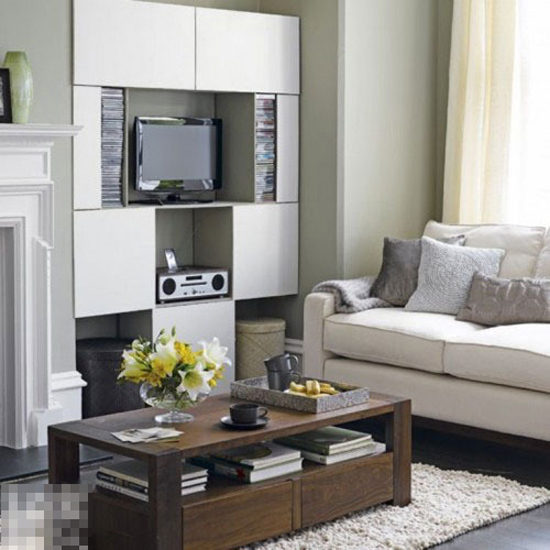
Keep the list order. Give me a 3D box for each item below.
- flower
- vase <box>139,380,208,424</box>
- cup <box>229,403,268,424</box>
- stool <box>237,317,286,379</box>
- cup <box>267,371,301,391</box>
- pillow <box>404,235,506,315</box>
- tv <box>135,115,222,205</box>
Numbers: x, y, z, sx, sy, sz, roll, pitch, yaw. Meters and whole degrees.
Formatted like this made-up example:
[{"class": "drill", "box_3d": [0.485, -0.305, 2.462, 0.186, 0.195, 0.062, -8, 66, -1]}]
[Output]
[{"class": "flower", "box_3d": [-0.292, 0.260, 1.672, 0.302, 0.209, 0.209, 0, -3, -5]}, {"class": "vase", "box_3d": [-0.310, 0.377, 1.716, 0.164, 0.085, 0.154, 0, -5, -3]}, {"class": "cup", "box_3d": [-0.074, 0.389, 1.650, 0.086, 0.034, 0.064, 2, -4, -4]}, {"class": "stool", "box_3d": [-0.120, 0.514, 4.042, 0.364, 0.363, 0.353, -1, 2, 18]}, {"class": "cup", "box_3d": [0.036, 0.371, 2.040, 0.105, 0.062, 0.063, 2, -3, 2]}, {"class": "pillow", "box_3d": [0.964, 0.008, 3.241, 0.474, 0.409, 0.151, 7, -7, 33]}, {"class": "tv", "box_3d": [-0.608, -0.750, 3.761, 0.692, 0.518, 0.072, 7, 9, 28]}]
